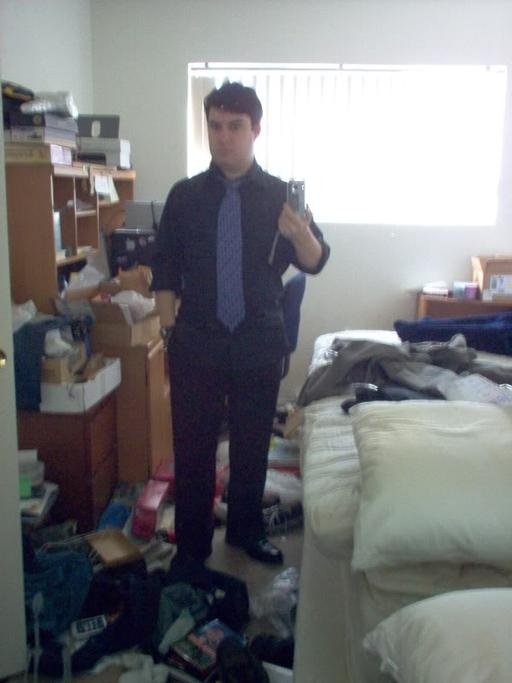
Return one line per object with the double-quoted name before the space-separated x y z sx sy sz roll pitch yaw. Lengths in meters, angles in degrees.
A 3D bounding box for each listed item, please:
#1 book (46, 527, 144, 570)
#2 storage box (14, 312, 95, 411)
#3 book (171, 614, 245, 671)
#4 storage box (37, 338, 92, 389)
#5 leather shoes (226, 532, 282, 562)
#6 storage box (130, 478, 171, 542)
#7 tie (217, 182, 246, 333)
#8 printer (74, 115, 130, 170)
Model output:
"book" -0.430 0.590 1.649 0.115 0.042 0.115 3 9 -44
"storage box" -0.654 0.058 1.841 0.138 0.279 0.393 -3 9 8
"book" -0.112 0.685 1.317 0.098 0.028 0.101 24 32 37
"storage box" -0.583 0.074 1.787 0.087 0.093 0.280 4 15 -1
"leather shoes" -0.006 0.653 1.845 0.176 0.086 0.069 10 8 35
"storage box" -0.352 0.551 1.895 0.077 0.086 0.319 8 37 -1
"tie" -0.070 -0.228 1.528 0.073 0.386 0.053 -2 7 8
"printer" -0.710 -0.926 2.748 0.263 0.321 0.219 0 6 -9
